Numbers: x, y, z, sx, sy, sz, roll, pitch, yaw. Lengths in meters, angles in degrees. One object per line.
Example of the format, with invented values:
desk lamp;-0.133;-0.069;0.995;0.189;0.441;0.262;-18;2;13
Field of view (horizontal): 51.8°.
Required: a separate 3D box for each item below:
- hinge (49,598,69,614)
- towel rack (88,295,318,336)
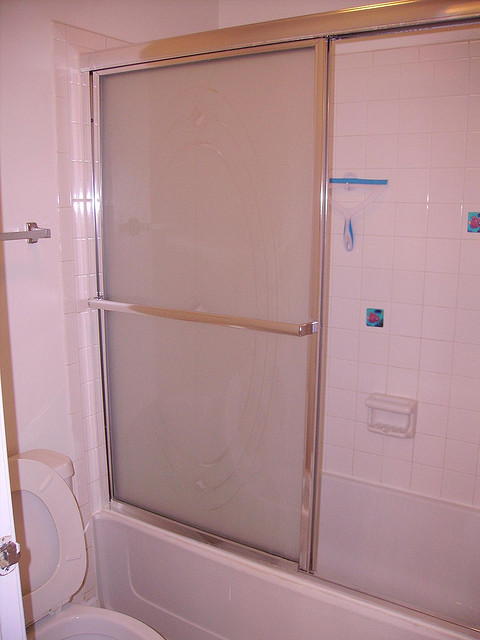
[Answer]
hinge;-0.464;0.738;1.270;0.016;0.027;0.061;14;4;14
towel rack;-0.153;-0.021;1.336;0.795;0.066;0.031;9;9;35
